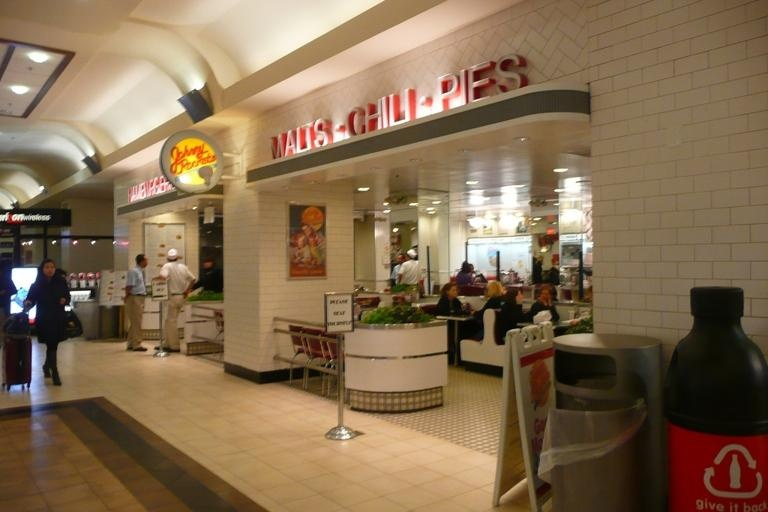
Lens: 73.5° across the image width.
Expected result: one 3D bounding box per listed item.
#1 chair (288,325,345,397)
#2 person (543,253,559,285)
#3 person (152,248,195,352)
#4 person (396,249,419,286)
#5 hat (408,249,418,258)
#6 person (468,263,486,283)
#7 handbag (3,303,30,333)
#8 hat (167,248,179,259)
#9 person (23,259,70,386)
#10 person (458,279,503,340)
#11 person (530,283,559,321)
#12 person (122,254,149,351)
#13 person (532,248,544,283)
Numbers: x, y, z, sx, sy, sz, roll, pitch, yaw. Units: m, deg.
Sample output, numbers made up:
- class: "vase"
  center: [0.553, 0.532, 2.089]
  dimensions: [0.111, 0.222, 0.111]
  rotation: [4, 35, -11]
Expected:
- class: "chair"
  center: [-1.115, 1.680, 8.395]
  dimensions: [0.635, 0.906, 1.554]
  rotation: [-1, 3, -30]
- class: "person"
  center: [4.677, 0.341, 14.483]
  dimensions: [0.403, 0.765, 2.056]
  rotation: [0, 3, 17]
- class: "person"
  center: [-4.905, 1.043, 12.098]
  dimensions: [0.709, 2.381, 0.891]
  rotation: [-1, 2, -19]
- class: "person"
  center: [0.622, 0.242, 13.240]
  dimensions: [0.512, 0.910, 0.851]
  rotation: [-1, 2, -3]
- class: "hat"
  center: [0.713, -0.092, 12.909]
  dimensions: [0.188, 0.174, 0.240]
  rotation: [2, -5, -6]
- class: "person"
  center: [2.909, 0.565, 16.076]
  dimensions: [0.483, 0.527, 0.990]
  rotation: [-6, -1, -10]
- class: "handbag"
  center: [-6.213, 1.077, 8.710]
  dimensions: [0.451, 0.479, 0.241]
  rotation: [0, 2, 2]
- class: "hat"
  center: [-5.418, -0.089, 13.176]
  dimensions: [0.288, 0.242, 0.427]
  rotation: [1, 7, -13]
- class: "person"
  center: [-5.941, 1.154, 9.106]
  dimensions: [0.649, 2.222, 0.736]
  rotation: [-2, 3, -30]
- class: "person"
  center: [1.934, 1.074, 10.154]
  dimensions: [0.722, 1.193, 1.189]
  rotation: [-1, 2, -10]
- class: "person"
  center: [3.089, 0.875, 9.936]
  dimensions: [0.655, 0.716, 0.540]
  rotation: [-1, -8, -6]
- class: "person"
  center: [-6.034, 1.226, 12.474]
  dimensions: [0.556, 2.060, 0.403]
  rotation: [-1, 2, -4]
- class: "person"
  center: [4.706, 0.308, 15.843]
  dimensions: [0.294, 0.914, 1.231]
  rotation: [0, 3, 17]
